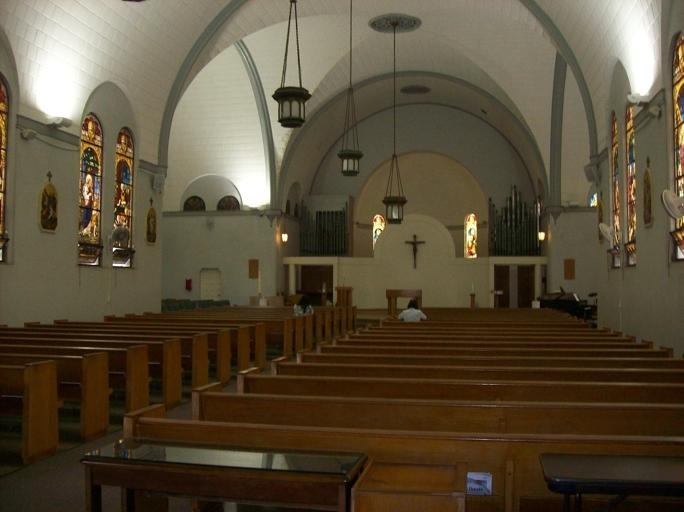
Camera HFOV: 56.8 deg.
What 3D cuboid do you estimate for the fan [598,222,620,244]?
[{"bbox_3d":[5.512,-0.531,13.084,0.271,0.463,0.141,6,-14,7],"label":"fan"}]
